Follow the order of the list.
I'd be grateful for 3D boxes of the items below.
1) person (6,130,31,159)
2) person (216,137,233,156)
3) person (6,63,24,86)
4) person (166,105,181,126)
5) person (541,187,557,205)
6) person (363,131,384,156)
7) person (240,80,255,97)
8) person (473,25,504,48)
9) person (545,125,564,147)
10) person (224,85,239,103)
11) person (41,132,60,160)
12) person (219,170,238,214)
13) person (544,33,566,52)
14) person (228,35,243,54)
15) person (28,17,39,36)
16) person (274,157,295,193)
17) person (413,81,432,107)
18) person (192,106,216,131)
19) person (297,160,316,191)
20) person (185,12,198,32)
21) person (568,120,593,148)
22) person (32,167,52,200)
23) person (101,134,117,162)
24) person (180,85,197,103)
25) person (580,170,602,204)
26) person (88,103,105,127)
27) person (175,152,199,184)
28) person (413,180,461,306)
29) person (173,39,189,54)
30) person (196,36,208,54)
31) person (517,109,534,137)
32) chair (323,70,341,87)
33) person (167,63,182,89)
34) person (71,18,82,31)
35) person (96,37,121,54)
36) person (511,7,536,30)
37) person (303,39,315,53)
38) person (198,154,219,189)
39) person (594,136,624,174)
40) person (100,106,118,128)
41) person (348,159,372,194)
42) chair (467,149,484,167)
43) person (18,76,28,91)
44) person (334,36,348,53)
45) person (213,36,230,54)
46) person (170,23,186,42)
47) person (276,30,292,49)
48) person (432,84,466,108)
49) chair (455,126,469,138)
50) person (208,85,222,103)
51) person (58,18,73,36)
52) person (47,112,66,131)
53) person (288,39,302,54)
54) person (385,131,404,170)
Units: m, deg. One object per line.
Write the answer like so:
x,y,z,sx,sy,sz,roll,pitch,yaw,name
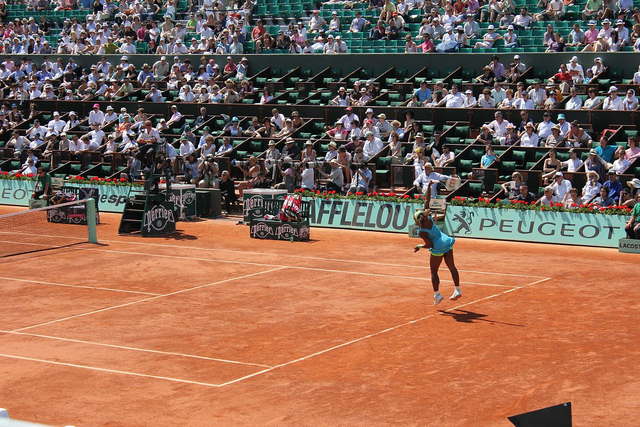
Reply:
-13.899,-3.211,33.577,0.941,1.590,0.911,-20,-26,22,person
-3.872,-2.742,29.468,0.551,0.940,0.529,18,10,8,person
-16.706,-7.733,39.926,0.868,0.984,1.809,-6,13,-23,person
-6.553,-4.446,32.568,0.466,0.873,0.765,7,15,33,person
7.484,-0.600,23.779,0.347,0.918,0.535,-6,4,-14,person
1.989,-2.644,27.366,0.539,0.739,0.774,-8,-12,-40,person
-3.300,-5.759,33.220,0.586,0.717,0.940,3,13,15,person
7.329,-7.735,31.599,1.250,0.943,0.914,2,13,14,person
8.217,-2.768,25.664,0.716,0.721,0.533,-5,13,-20,person
-3.961,-5.401,32.474,0.655,0.757,0.633,-3,12,-8,person
-12.158,-3.072,32.698,0.712,1.123,1.211,-2,12,-6,person
-3.614,-0.909,28.412,0.520,1.697,0.731,7,14,32,person
9.817,-7.124,29.956,0.812,1.095,0.748,-12,12,-42,person
-4.158,-8.370,35.829,0.659,0.884,0.801,-10,15,-36,person
-17.522,-11.480,44.325,0.572,1.091,1.479,-5,13,-20,person
-1.327,-1.373,27.276,0.652,0.970,0.803,1,12,6,person
4.183,-4.936,29.579,0.702,0.952,0.906,1,12,6,person
-5.171,-4.199,31.886,1.058,0.998,1.026,-6,13,-23,person
-0.443,-1.481,26.971,0.523,1.107,0.545,0,12,3,person
-7.115,-10.610,40.230,0.601,1.033,1.415,-3,12,-10,person
9.077,-2.699,25.417,0.818,1.177,0.724,-1,3,35,person
-10.846,-1.233,28.397,0.663,1.289,1.530,-8,14,-29,person
-9.077,-2.840,31.216,0.689,1.118,1.067,-3,12,-11,person
-6.037,-5.534,33.203,0.727,0.715,0.527,-3,12,-11,person
8.710,-0.887,23.540,0.877,1.073,0.670,0,4,-38,person
-10.363,-4.582,33.694,0.696,1.058,0.970,-5,13,-18,person
-5.278,-1.873,29.066,1.033,1.199,0.671,6,14,29,person
2.746,1.023,16.973,1.089,2.300,1.421,1,12,10,person
-7.199,-8.513,37.480,0.902,0.887,0.633,-2,1,-7,person
-6.000,-8.622,36.981,0.580,0.815,0.910,-6,13,-24,person
7.509,-3.360,26.595,0.552,0.952,1.330,3,13,17,person
0.571,-6.327,33.324,0.548,0.794,0.754,3,9,16,chair
-7.068,-6.712,35.269,0.699,1.168,1.015,-3,12,-9,person
-14.302,-11.173,42.675,0.609,0.723,1.451,-5,13,-17,person
-11.384,-9.095,39.174,1.228,0.854,0.712,-4,13,-16,person
8.934,-8.604,31.960,1.065,0.946,0.967,1,12,6,person
-0.548,-8.001,34.682,0.538,0.655,1.588,-1,12,-1,person
-4.345,-1.663,28.329,0.763,1.230,1.068,-3,12,-9,person
9.658,-1.961,24.344,0.753,1.230,1.264,3,-6,-43,person
-9.763,-4.569,33.679,0.649,0.867,1.057,5,14,25,person
1.452,-1.362,26.290,0.708,1.091,1.064,2,12,11,person
5.648,-2.077,26.492,0.549,0.790,0.613,1,0,26,chair
-15.510,-6.865,38.065,0.393,0.713,1.039,-8,14,-29,person
0.937,-7.932,34.027,0.766,1.095,0.649,-1,16,9,person
-4.847,-8.413,36.104,0.666,0.843,0.601,-1,12,-3,person
-7.570,-9.687,38.735,0.749,0.975,1.564,-2,12,-4,person
-1.804,-8.527,35.514,0.702,0.859,1.217,-2,12,-4,person
5.134,-4.705,29.028,1.114,0.536,1.625,8,40,38,person
5.408,-3.210,27.885,0.395,0.568,0.441,5,22,18,chair
-4.764,-5.436,32.681,0.687,0.768,0.668,4,13,19,person
-15.021,-11.123,43.174,0.538,1.055,2.783,-4,13,-16,person
-12.440,-4.421,34.468,0.527,0.848,0.757,2,12,11,person
-1.197,-7.969,34.497,0.661,0.675,0.788,-1,12,-3,person
2.753,-2.382,26.852,0.669,1.339,0.705,0,12,4,person
